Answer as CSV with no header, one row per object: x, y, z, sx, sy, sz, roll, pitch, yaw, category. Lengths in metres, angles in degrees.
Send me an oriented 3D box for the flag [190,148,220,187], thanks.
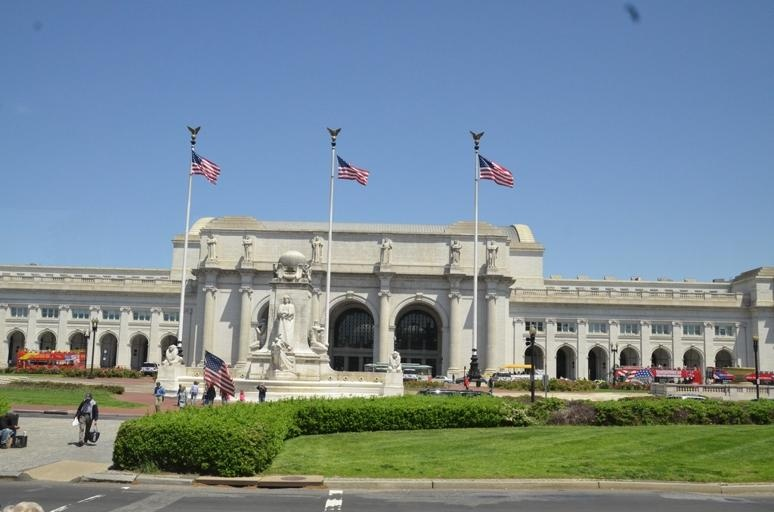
-16.936,-8.384,89.010,2.811,2.915,0.376,15,33,4,flag

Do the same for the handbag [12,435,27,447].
-20.392,10.259,53.508,0.639,0.592,0.634,-3,-5,29,handbag

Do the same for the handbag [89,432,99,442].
-16.734,10.378,55.207,0.506,0.639,0.592,2,12,-31,handbag

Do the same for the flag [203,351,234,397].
-10.403,7.210,59.946,2.990,2.069,0.221,13,5,35,flag

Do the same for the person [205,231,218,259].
-21.619,-1.065,118.449,1.217,3.207,1.481,-1,2,-11,person
